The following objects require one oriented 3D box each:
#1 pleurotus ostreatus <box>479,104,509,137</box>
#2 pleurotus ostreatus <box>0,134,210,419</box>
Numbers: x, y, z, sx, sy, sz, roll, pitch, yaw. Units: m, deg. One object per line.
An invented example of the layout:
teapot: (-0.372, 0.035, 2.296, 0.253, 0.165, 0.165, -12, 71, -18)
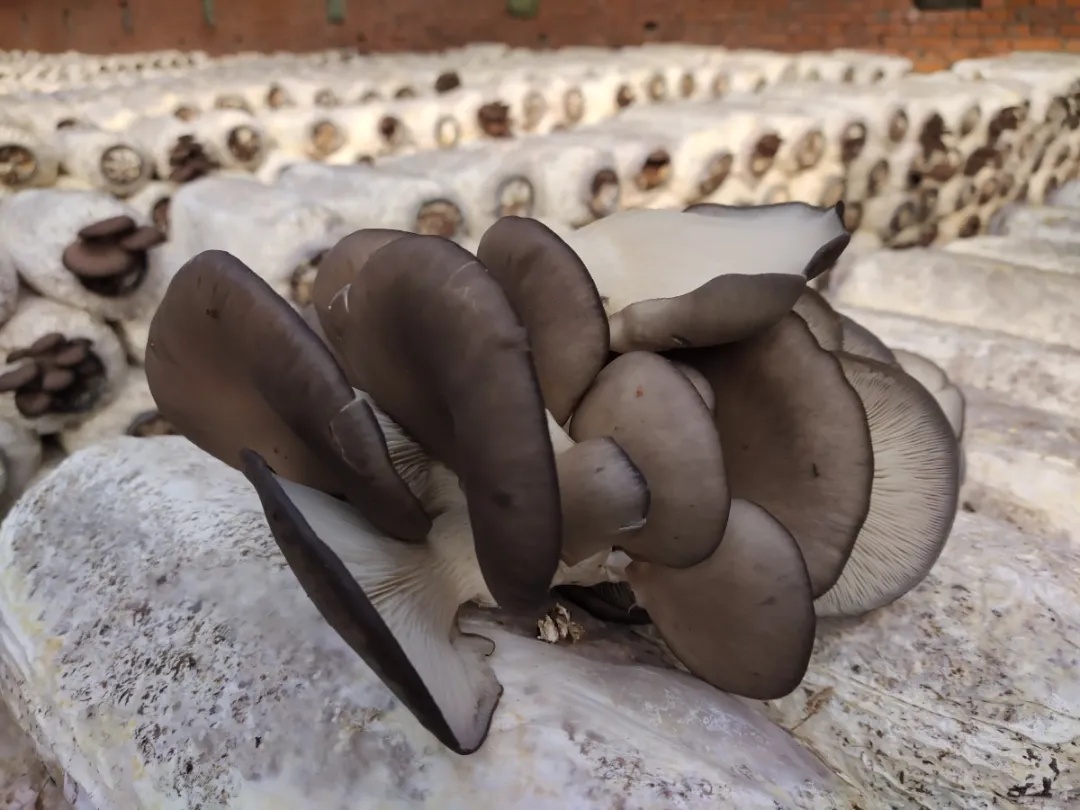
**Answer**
pleurotus ostreatus: (-0.102, -0.639, 2.792, 0.075, 0.063, 0.054, -11, 49, -7)
pleurotus ostreatus: (-0.830, -0.264, 2.350, 0.376, 0.187, 0.564, 5, 90, -5)
